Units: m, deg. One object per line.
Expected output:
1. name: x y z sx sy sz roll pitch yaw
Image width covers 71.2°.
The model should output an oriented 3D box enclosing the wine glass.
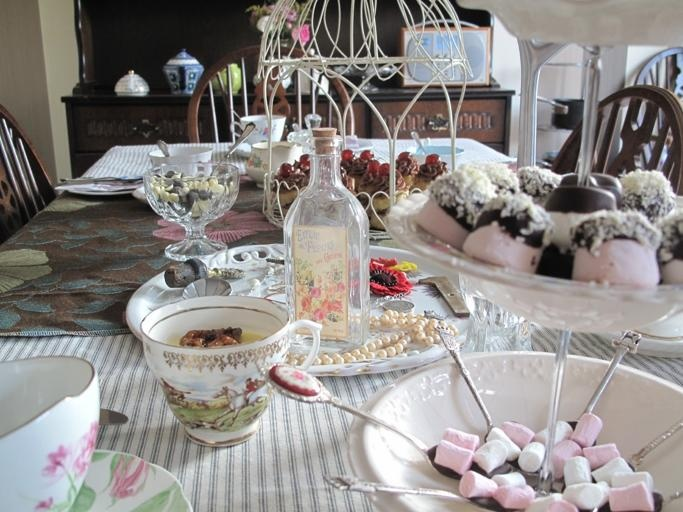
1. wine glass: -0.256 -0.091 0.931 0.196 0.173 0.198 -1 11 -4

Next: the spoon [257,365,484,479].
1. spoon: 0.023 0.138 0.388 0.169 0.009 0.031 24 21 27

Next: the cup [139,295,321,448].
1. cup: -0.111 0.071 0.462 0.170 0.102 0.134 -2 13 -8
